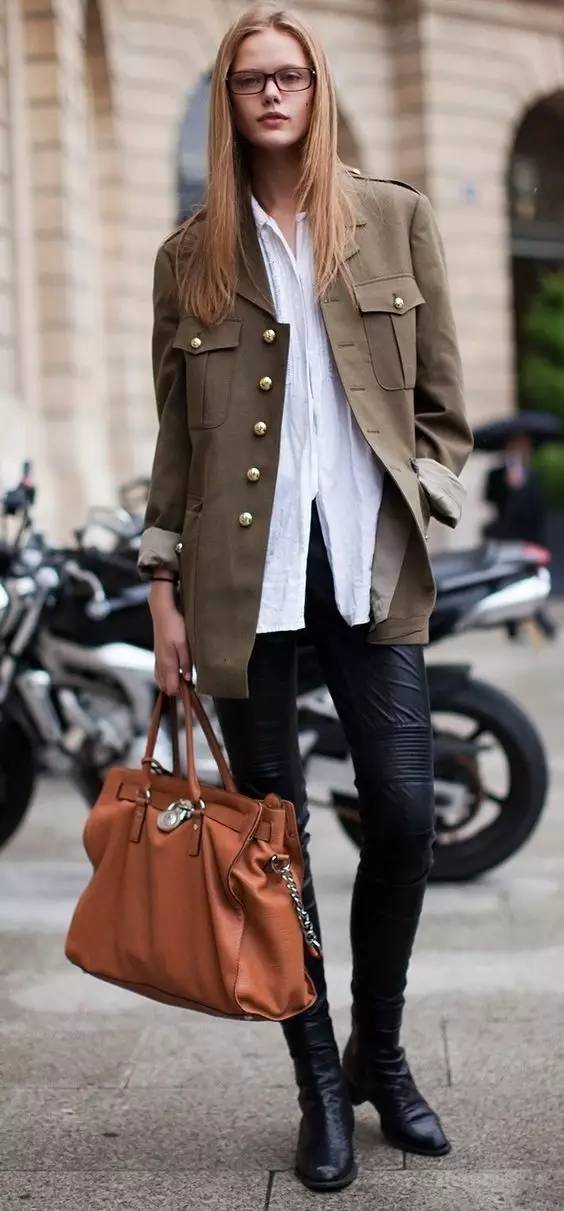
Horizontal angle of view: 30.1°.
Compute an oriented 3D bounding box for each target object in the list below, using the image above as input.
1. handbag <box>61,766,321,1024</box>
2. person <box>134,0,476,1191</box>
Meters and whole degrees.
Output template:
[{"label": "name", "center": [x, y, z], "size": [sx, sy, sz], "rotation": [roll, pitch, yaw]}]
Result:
[{"label": "handbag", "center": [-0.147, 0.426, 1.609], "size": [0.377, 0.239, 0.217], "rotation": [-2, -1, 22]}, {"label": "person", "center": [0.026, -0.005, 1.650], "size": [0.536, 1.280, 0.282], "rotation": [-2, -1, 11]}]
